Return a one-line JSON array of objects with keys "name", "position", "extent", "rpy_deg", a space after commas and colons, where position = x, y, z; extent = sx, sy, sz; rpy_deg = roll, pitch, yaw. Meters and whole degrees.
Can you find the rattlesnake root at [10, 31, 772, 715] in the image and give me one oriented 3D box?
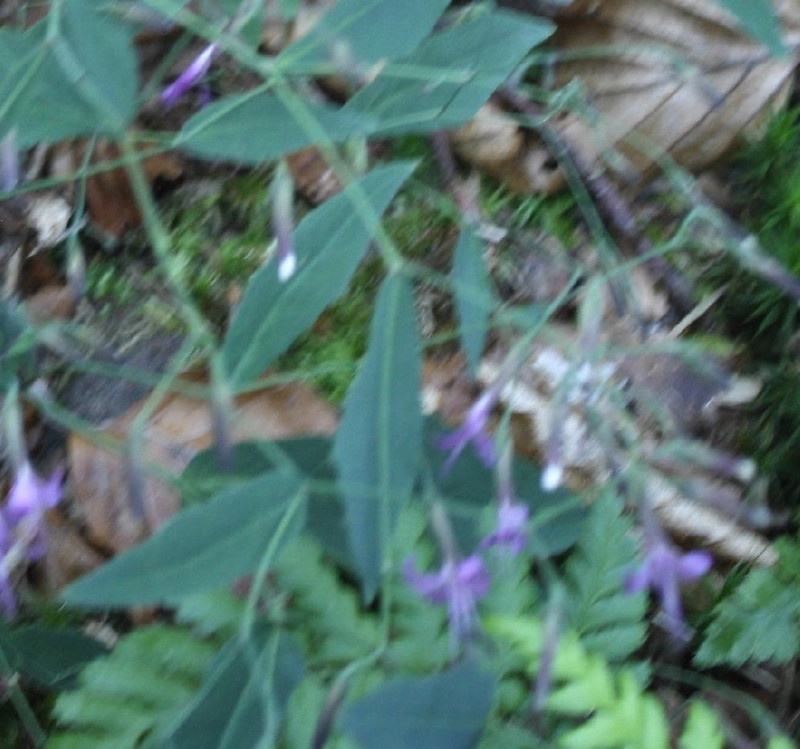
[{"name": "rattlesnake root", "position": [0.004, 0.011, 0.655], "extent": [0.419, 0.532, 0.072], "rpy_deg": [-7, -2, -14]}]
